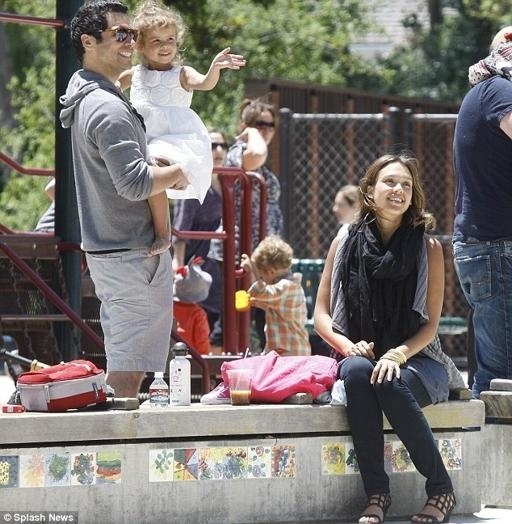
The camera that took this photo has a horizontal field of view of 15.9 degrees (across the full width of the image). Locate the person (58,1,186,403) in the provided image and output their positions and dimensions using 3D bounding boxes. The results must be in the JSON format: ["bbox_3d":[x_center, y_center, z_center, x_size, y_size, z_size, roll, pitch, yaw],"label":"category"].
[{"bbox_3d":[-0.784,-0.374,10.434,0.620,2.294,0.459,-4,0,-7],"label":"person"}]

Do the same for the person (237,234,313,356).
[{"bbox_3d":[0.102,0.253,12.969,0.507,1.387,0.593,-2,-19,4],"label":"person"}]

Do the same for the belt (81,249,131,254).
[{"bbox_3d":[-0.867,-0.058,10.462,0.273,0.036,0.047,-4,0,22],"label":"belt"}]

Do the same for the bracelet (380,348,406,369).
[{"bbox_3d":[0.775,0.556,10.445,0.099,0.078,0.113,10,-14,-32],"label":"bracelet"}]

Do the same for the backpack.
[{"bbox_3d":[-1.121,0.698,10.270,0.472,0.243,0.529,-15,8,-36],"label":"backpack"}]

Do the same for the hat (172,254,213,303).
[{"bbox_3d":[-0.455,0.140,12.534,0.290,0.364,0.264,9,23,-11],"label":"hat"}]

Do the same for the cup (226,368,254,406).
[{"bbox_3d":[-0.109,0.714,10.395,0.174,0.175,0.171,0,-18,0],"label":"cup"}]

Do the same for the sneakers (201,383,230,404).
[{"bbox_3d":[-0.248,0.768,10.564,0.162,0.098,0.097,-1,-9,13],"label":"sneakers"}]
